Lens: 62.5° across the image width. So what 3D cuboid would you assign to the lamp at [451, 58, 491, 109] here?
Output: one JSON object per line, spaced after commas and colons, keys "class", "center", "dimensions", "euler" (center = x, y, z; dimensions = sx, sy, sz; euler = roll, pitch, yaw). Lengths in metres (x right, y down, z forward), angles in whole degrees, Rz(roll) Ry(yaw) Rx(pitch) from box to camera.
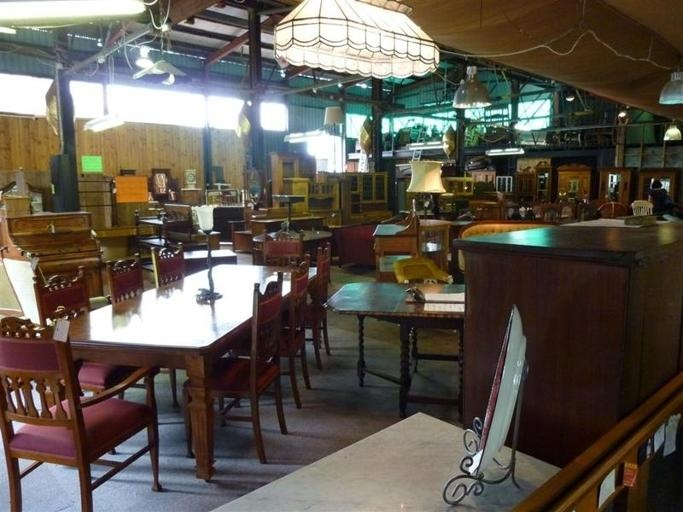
{"class": "lamp", "center": [1.532, -1.982, 6.593], "dimensions": [0.445, 0.484, 0.462], "euler": [3, 13, 19]}
